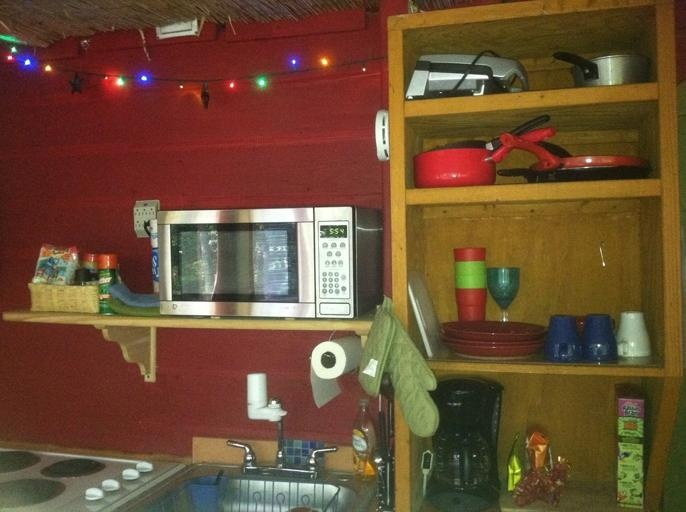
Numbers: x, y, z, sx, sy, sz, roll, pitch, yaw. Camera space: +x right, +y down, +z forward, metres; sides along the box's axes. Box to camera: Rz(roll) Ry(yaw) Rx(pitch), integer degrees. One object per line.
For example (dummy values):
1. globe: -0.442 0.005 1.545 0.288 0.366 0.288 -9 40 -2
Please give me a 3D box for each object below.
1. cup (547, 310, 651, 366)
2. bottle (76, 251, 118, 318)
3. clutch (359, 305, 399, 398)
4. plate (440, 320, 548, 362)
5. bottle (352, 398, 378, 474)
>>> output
1. cup: 0.785 0.246 2.154 0.301 0.153 0.171 0 0 21
2. bottle: -0.888 0.099 2.521 0.106 0.153 0.218 1 0 -44
3. clutch: 0.104 0.282 2.143 0.071 0.227 0.197 18 -11 -16
4. plate: 0.479 0.264 2.229 0.331 0.107 0.198 1 0 6
5. bottle: 0.074 0.652 2.488 0.081 0.282 0.060 1 -1 8
